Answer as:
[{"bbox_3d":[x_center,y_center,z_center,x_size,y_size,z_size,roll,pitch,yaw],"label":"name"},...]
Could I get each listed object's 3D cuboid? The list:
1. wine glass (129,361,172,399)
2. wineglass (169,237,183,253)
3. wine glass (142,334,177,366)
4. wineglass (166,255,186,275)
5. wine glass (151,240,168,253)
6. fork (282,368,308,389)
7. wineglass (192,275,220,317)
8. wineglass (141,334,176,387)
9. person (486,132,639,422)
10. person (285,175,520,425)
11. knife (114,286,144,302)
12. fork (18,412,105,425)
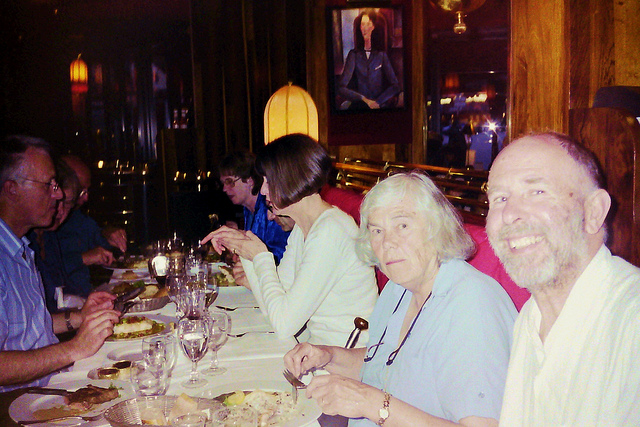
[{"bbox_3d":[-0.733,0.696,2.386,0.165,0.143,0.150,1,-3,-17],"label":"wine glass"},{"bbox_3d":[-1.148,0.252,4.403,0.111,0.128,0.112,1,12,-8],"label":"wineglass"},{"bbox_3d":[-0.702,0.598,2.434,0.103,0.120,0.147,1,5,29],"label":"wine glass"},{"bbox_3d":[-0.929,0.331,3.590,0.124,0.129,0.125,3,-5,-10],"label":"wineglass"},{"bbox_3d":[-1.254,0.251,4.286,0.124,0.131,0.114,0,-2,-6],"label":"wine glass"},{"bbox_3d":[-0.114,0.730,2.463,0.131,0.017,0.019,32,-9,-3],"label":"fork"},{"bbox_3d":[-0.663,0.483,3.337,0.205,0.306,0.198,3,-3,-14],"label":"wineglass"},{"bbox_3d":[-0.711,0.707,2.450,0.150,0.332,0.139,2,3,-24],"label":"wineglass"},{"bbox_3d":[0.897,0.242,1.999,0.278,1.065,0.524,-6,6,-44],"label":"person"},{"bbox_3d":[0.388,0.596,2.968,0.954,1.617,1.331,10,-14,-8],"label":"person"},{"bbox_3d":[-1.169,0.490,3.398,0.199,0.045,0.059,-22,-19,-49],"label":"knife"},{"bbox_3d":[-1.051,0.820,2.225,0.287,0.043,0.042,3,16,-12],"label":"fork"}]
